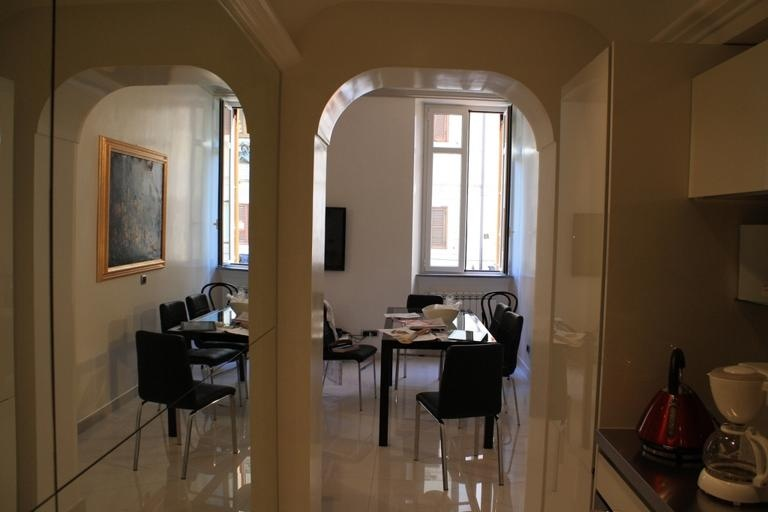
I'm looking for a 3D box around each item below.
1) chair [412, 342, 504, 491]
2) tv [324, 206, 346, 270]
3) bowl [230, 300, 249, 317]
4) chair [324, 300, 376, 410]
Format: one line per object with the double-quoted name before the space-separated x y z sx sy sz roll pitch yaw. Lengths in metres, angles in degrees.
"chair" 0.506 0.949 3.601 0.602 0.892 0.569 1 6 -2
"tv" -0.521 -0.167 6.059 0.219 0.695 0.080 0 6 -12
"bowl" -0.565 0.209 2.192 0.052 0.039 0.053 1 2 0
"chair" -0.298 0.762 5.002 0.494 0.946 1.287 0 7 -5
